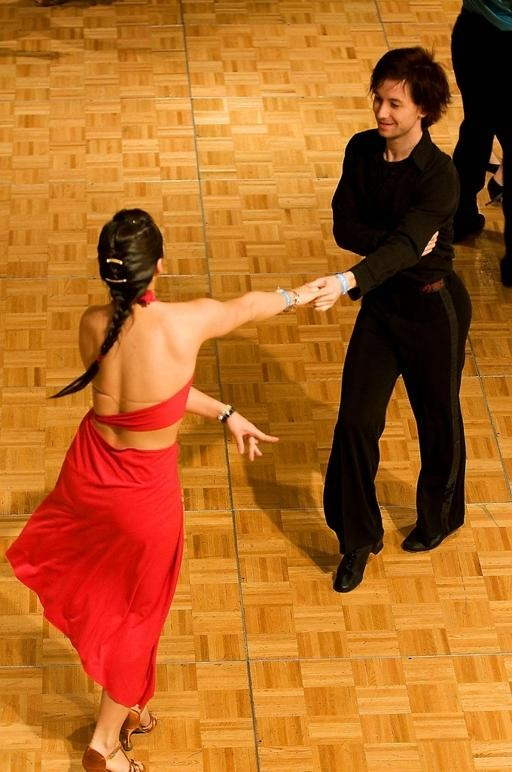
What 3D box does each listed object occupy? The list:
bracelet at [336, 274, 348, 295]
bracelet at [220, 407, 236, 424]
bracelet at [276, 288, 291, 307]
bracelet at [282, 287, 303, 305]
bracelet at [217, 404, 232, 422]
[{"bbox_3d":[0.211,-0.252,1.664,0.025,0.037,0.040,-21,51,-17],"label":"bracelet"},{"bbox_3d":[-0.068,0.067,1.627,0.040,0.035,0.037,-13,62,-1],"label":"bracelet"},{"bbox_3d":[0.061,-0.208,1.599,0.017,0.042,0.034,-17,52,-6],"label":"bracelet"},{"bbox_3d":[0.087,-0.214,1.613,0.021,0.045,0.033,-26,68,-17],"label":"bracelet"},{"bbox_3d":[-0.074,0.065,1.592,0.025,0.039,0.036,44,85,3],"label":"bracelet"}]
